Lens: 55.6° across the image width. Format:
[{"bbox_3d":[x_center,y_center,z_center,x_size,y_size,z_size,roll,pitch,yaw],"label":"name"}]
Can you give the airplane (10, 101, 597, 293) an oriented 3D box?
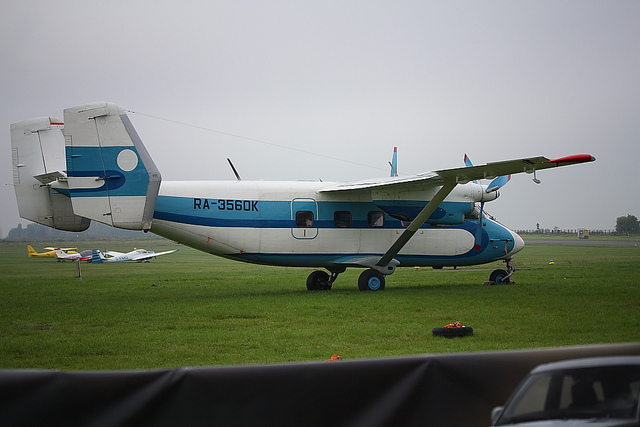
[{"bbox_3d":[-1.955,-0.320,21.272,16.915,6.449,4.835,-1,-2,-2],"label":"airplane"}]
